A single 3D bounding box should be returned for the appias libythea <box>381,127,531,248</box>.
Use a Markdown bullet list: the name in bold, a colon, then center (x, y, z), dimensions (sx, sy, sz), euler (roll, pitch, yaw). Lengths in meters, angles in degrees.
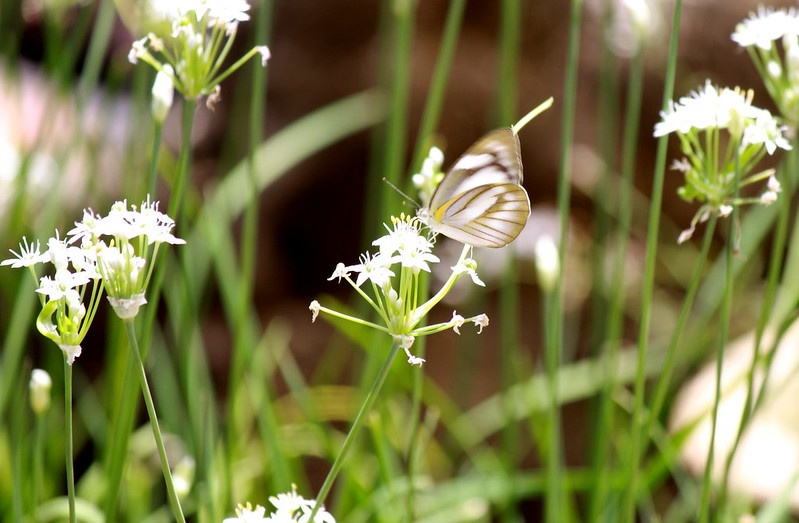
- **appias libythea**: center (0.143, -0.212, 2.132), dimensions (0.393, 0.358, 0.424), euler (-8, 20, -18)
